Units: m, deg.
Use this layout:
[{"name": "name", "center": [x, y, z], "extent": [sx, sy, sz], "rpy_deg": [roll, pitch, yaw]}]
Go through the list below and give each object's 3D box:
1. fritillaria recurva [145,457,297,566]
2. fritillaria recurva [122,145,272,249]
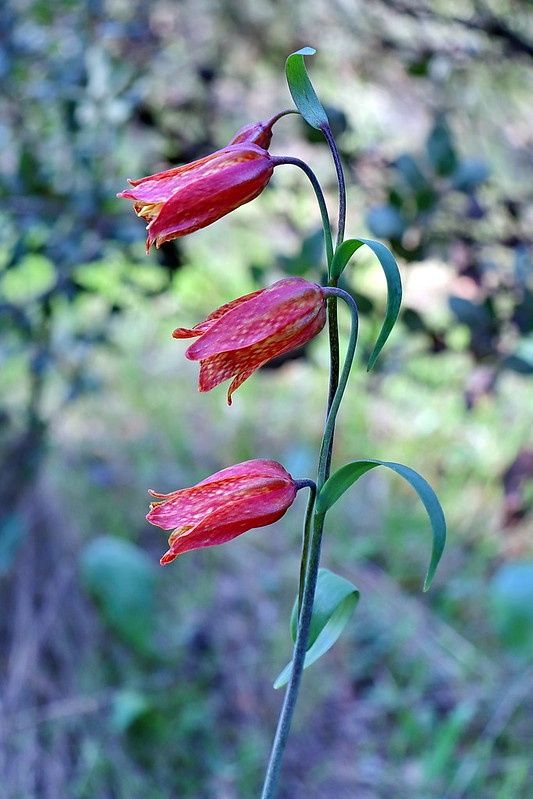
[{"name": "fritillaria recurva", "center": [-0.037, 0.096, 0.733], "extent": [0.141, 0.060, 0.081], "rpy_deg": [-21, 30, 2]}, {"name": "fritillaria recurva", "center": [-0.072, -0.196, 0.717], "extent": [0.150, 0.041, 0.082], "rpy_deg": [-35, 62, -22]}]
